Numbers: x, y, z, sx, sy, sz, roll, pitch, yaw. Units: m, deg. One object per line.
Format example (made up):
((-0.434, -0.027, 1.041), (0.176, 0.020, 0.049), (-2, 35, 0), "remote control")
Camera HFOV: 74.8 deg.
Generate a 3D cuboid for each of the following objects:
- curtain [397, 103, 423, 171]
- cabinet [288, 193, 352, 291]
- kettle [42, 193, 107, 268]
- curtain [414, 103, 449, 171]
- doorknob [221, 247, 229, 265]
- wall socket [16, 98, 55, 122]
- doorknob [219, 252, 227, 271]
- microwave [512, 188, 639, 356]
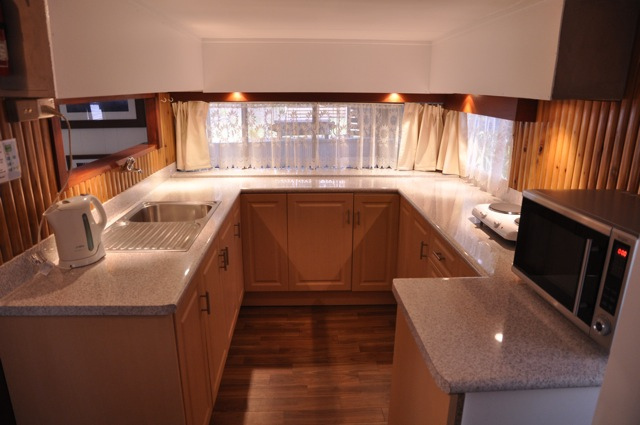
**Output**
((0.876, -0.747, 4.081), (0.184, 0.672, 0.086), (6, 5, 12), "curtain")
((-0.001, 0.217, 3.850), (0.746, 1.113, 0.737), (0, 11, 1), "cabinet")
((-1.263, 0.114, 2.246), (0.246, 0.393, 0.286), (5, 17, -11), "kettle")
((1.051, -0.762, 4.078), (0.280, 0.728, 0.098), (4, -10, 16), "curtain")
((-0.660, 0.299, 2.897), (0.064, 0.128, 0.126), (0, 9, -5), "doorknob")
((-1.378, -0.504, 2.044), (0.074, 0.098, 0.166), (16, 25, 41), "wall socket")
((-0.664, 0.330, 2.860), (0.066, 0.132, 0.129), (0, 7, -5), "doorknob")
((1.053, 0.251, 1.720), (0.357, 0.397, 0.575), (2, 23, 4), "microwave")
